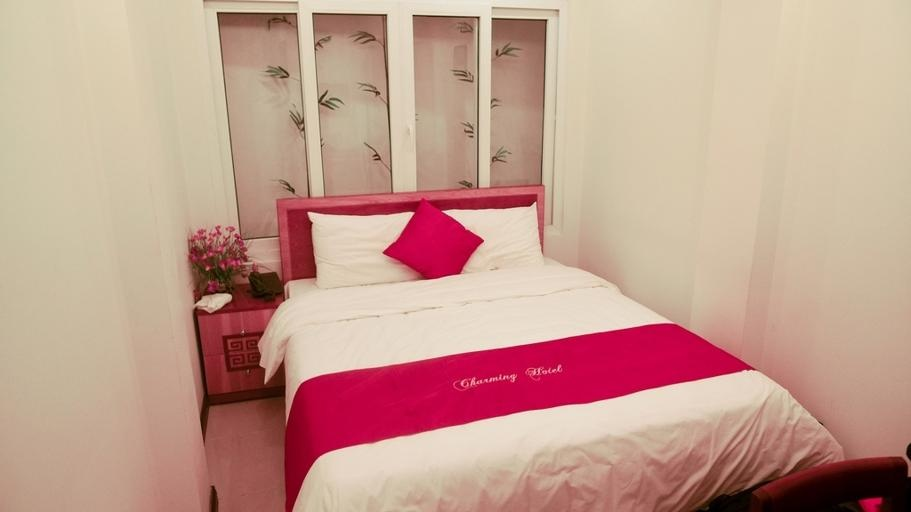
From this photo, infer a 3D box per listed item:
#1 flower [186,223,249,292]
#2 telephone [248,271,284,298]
[{"bbox_3d":[-1.649,-0.018,4.149,0.458,0.488,0.484,-11,16,-40],"label":"flower"},{"bbox_3d":[-1.285,0.200,4.061,0.222,0.072,0.206,-3,28,-35],"label":"telephone"}]
